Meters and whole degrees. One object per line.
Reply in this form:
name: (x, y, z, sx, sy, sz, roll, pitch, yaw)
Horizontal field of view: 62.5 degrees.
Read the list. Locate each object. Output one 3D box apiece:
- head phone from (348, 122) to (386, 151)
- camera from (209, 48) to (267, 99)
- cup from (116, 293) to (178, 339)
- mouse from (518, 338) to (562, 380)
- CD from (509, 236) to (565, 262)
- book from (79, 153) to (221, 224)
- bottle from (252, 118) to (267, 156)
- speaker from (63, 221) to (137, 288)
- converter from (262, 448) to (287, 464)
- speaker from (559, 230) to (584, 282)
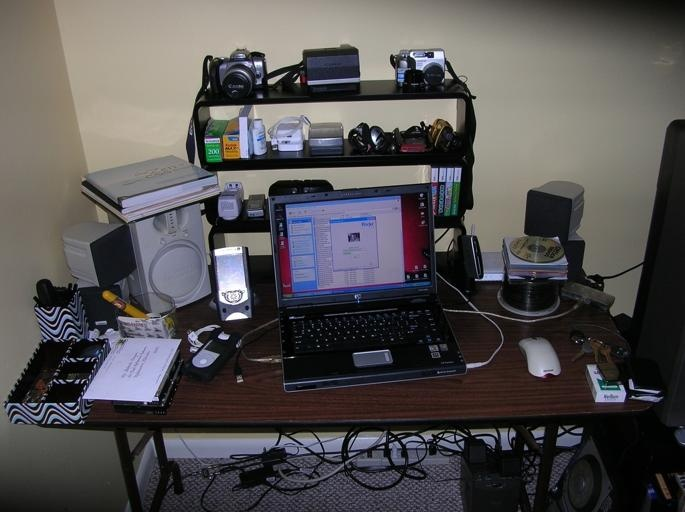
head phone: (0.095, -0.441, 2.141, 0.120, 0.095, 0.096, -2, 50, -6)
camera: (-0.398, -0.693, 2.122, 0.228, 0.157, 0.175, -7, 4, -10)
cup: (-0.685, 0.222, 1.990, 0.164, 0.121, 0.165, 3, 30, -2)
mouse: (0.660, 0.319, 1.900, 0.115, 0.061, 0.203, -1, 34, -3)
CD: (0.711, -0.026, 2.088, 0.192, 0.050, 0.143, -2, 26, 5)
book: (-0.718, -0.254, 2.115, 0.447, 0.135, 0.284, -20, 30, -29)
bottle: (-0.322, -0.448, 2.164, 0.048, 0.143, 0.103, 0, 29, -1)
speaker: (-0.872, 0.000, 2.100, 0.227, 0.206, 0.226, 30, 37, 34)
converter: (-0.312, 0.900, 2.560, 0.087, 0.037, 0.068, -11, -11, 19)
speaker: (0.899, 0.020, 2.203, 0.102, 0.168, 0.075, 2, 25, 12)
